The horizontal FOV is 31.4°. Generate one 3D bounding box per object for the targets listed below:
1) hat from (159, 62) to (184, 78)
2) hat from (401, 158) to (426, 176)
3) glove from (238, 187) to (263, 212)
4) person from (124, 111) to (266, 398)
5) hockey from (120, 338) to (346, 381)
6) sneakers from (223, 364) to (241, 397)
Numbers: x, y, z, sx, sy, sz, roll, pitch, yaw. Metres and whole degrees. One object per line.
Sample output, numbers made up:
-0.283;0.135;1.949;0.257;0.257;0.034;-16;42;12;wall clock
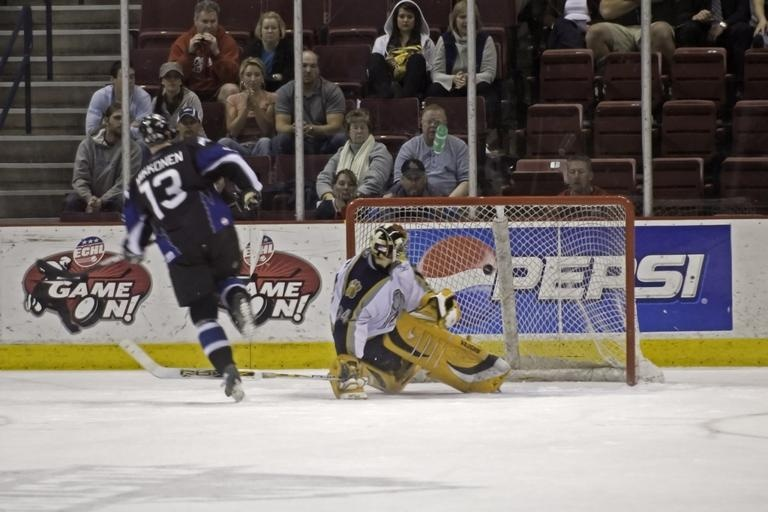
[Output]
-1.876;-1.664;12.137;0.143;0.093;0.182;-1;0;-13;hat
0.257;-0.773;11.938;0.131;0.174;0.090;1;58;1;hat
-0.993;-0.433;10.496;0.155;0.150;0.051;2;-2;15;glove
-1.463;0.082;10.356;1.049;1.922;0.757;-1;11;-2;person
-1.224;0.863;10.806;1.703;0.237;0.171;4;11;-10;hockey
-1.117;0.963;10.190;0.054;0.120;0.156;22;20;7;sneakers
